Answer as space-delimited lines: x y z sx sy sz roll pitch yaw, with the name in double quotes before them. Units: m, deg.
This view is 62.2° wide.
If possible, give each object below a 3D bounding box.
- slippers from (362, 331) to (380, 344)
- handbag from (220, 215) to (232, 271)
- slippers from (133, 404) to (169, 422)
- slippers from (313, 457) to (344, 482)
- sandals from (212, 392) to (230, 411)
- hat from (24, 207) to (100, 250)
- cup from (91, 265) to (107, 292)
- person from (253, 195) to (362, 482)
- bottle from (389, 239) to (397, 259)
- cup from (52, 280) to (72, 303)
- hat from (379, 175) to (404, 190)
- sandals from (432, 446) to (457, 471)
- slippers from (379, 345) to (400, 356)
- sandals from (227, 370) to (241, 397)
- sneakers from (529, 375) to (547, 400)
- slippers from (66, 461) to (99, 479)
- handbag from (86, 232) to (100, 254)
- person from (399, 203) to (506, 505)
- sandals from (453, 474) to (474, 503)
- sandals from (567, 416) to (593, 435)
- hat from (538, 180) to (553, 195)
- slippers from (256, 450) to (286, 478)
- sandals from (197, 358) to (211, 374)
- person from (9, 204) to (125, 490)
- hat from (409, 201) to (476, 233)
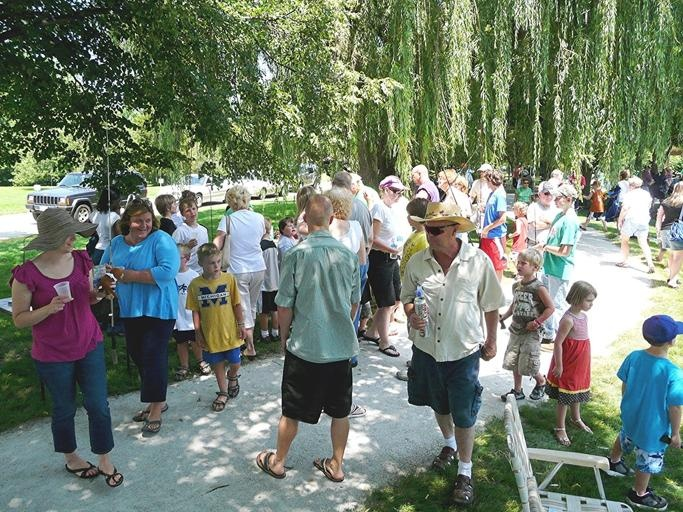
"slippers" 0.432 1.244 8.621 0.287 0.137 0.111 17 1 19
"handbag" -1.582 -0.186 7.733 0.091 0.703 0.192 1 10 16
"slippers" -2.269 1.830 6.607 0.165 0.124 0.428 -1 -6 15
"slippers" -0.151 2.160 5.750 0.149 0.122 0.333 7 20 -43
"sandals" -1.481 1.736 6.842 0.188 0.163 0.287 -3 11 -7
"hat" -2.775 -0.351 5.550 0.419 0.256 0.509 -23 3 0
"cup" -2.558 0.237 5.943 0.140 0.264 0.181 12 12 -1
"person" -0.289 0.866 5.686 0.922 2.806 0.455 -1 9 0
"bottle" 0.729 -0.113 8.016 0.055 0.228 0.198 5 5 2
"cup" -2.627 0.329 5.329 0.155 0.200 0.159 -10 9 2
"hat" 0.760 -1.101 8.604 0.310 0.197 0.230 0 9 14
"sandals" 1.073 2.126 5.938 0.124 0.170 0.353 -1 -9 32
"slippers" 0.687 1.367 8.200 0.132 0.116 0.251 -3 5 -38
"sandals" -1.353 1.588 7.031 0.095 0.337 0.126 -3 -31 -8
"sneakers" 2.497 1.660 7.206 0.128 0.179 0.373 -4 12 31
"slippers" -2.622 2.162 5.714 0.249 0.082 0.154 10 13 21
"handbag" -3.810 -0.198 8.648 0.096 0.355 0.193 26 -38 -35
"person" 1.086 0.874 5.808 0.723 2.848 0.940 -10 13 -43
"sandals" 1.186 2.272 5.548 0.222 0.242 0.184 -1 10 3
"sandals" 2.812 2.006 6.683 0.254 0.078 0.107 31 31 32
"hat" 3.612 -1.225 9.996 0.226 0.221 0.379 0 2 3
"slippers" -0.732 2.114 5.789 0.161 0.158 0.338 -3 33 -42
"sandals" -1.871 1.499 7.686 0.162 0.142 0.233 -5 11 -20
"person" -2.682 0.908 5.530 0.846 2.710 0.595 -3 10 -12
"hat" 1.062 -0.383 5.630 0.396 0.161 0.363 23 -18 -29
